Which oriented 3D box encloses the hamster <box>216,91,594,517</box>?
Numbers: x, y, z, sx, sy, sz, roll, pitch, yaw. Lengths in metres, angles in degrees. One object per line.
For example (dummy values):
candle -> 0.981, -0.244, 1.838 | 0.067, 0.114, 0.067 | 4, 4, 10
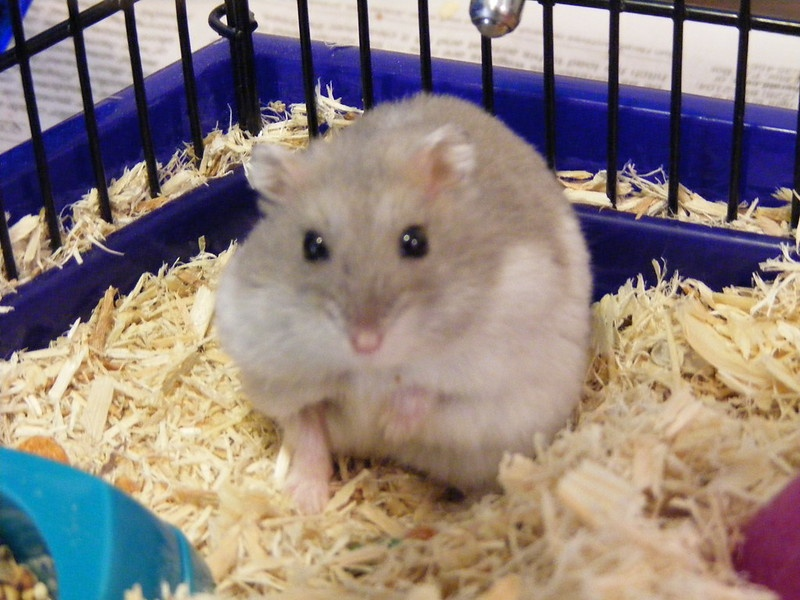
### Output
hamster -> 0.030, -0.104, 1.785 | 0.590, 0.767, 0.904 | 5, 34, 21
